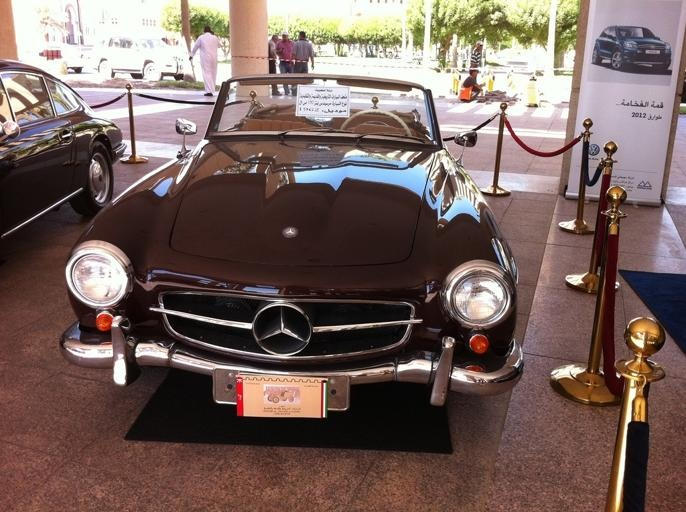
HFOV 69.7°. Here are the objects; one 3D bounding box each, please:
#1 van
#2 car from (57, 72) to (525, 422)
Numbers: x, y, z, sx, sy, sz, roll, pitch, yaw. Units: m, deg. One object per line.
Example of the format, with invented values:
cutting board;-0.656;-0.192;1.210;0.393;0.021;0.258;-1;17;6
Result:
van;-9.818;-9.373;23.528;4.246;1.796;2.278;5;35;8
car;-0.241;-0.216;3.204;2.402;1.629;2.376;1;25;3
